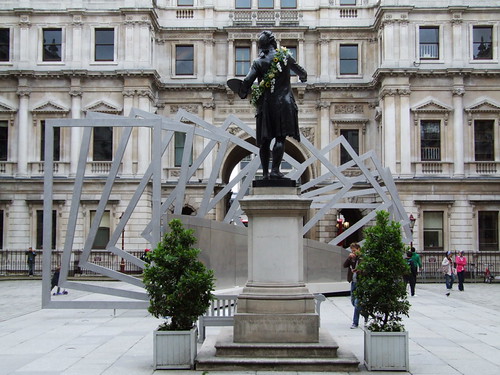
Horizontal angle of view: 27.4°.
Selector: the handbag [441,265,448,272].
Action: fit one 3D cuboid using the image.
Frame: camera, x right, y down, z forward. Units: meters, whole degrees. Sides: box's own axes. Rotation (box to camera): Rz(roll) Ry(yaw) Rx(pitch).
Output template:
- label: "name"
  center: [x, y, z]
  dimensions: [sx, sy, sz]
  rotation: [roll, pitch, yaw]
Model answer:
- label: "handbag"
  center: [12.355, 5.250, 65.853]
  dimensions: [0.273, 0.449, 0.704]
  rotation: [1, -3, -4]
